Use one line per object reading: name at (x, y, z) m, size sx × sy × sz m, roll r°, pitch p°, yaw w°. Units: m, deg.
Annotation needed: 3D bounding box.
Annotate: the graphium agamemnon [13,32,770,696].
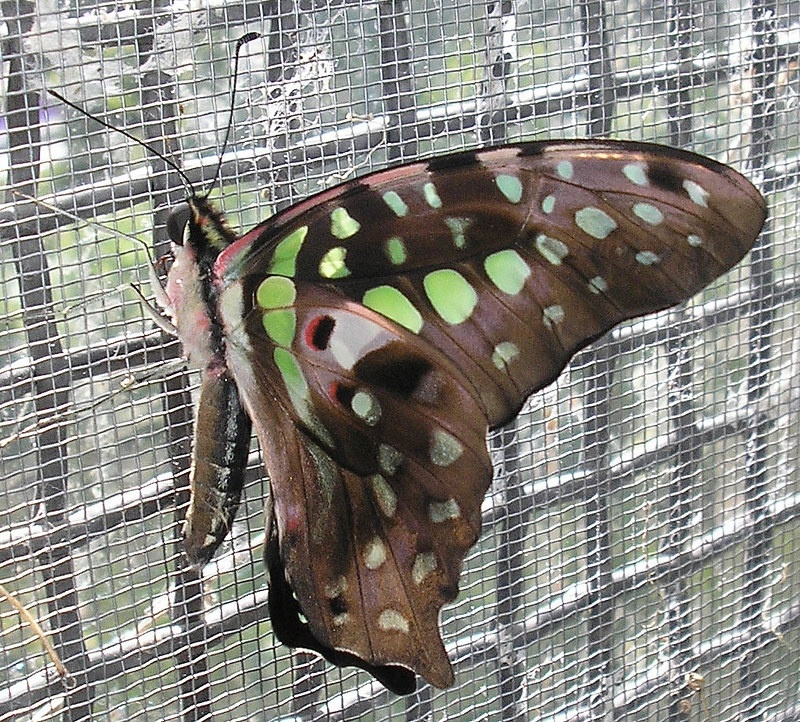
graphium agamemnon at (0.035, 0.033, 2.082) m, size 0.865 × 0.570 × 0.531 m, roll -32°, pitch -36°, yaw 25°
